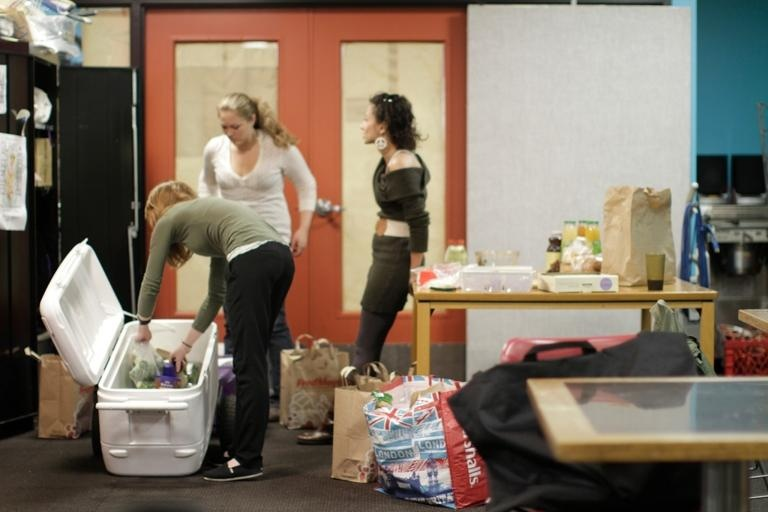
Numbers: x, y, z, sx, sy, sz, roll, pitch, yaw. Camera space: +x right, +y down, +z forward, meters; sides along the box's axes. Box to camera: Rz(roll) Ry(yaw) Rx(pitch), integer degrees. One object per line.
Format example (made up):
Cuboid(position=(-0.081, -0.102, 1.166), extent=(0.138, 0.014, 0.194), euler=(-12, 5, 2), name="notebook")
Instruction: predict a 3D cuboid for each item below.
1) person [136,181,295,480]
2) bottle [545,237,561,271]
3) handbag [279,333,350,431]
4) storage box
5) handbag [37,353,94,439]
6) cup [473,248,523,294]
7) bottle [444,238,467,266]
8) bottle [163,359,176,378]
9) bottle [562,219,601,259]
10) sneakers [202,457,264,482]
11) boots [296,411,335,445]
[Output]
Cuboid(position=(-0.903, 0.393, 4.081), extent=(0.766, 1.596, 0.408), euler=(2, 4, 16), name="person")
Cuboid(position=(0.991, -0.014, 4.392), extent=(0.083, 0.205, 0.253), euler=(2, 3, 13), name="bottle")
Cuboid(position=(-0.407, 0.755, 4.697), extent=(0.406, 0.614, 0.218), euler=(-2, 12, -6), name="handbag")
Cuboid(position=(-1.449, 0.566, 4.455), extent=(0.862, 1.016, 1.356), euler=(2, 14, -10), name="storage box")
Cuboid(position=(-2.031, 0.869, 4.749), extent=(0.296, 0.485, 0.377), euler=(2, 2, -19), name="handbag")
Cuboid(position=(0.634, 0.081, 4.254), extent=(0.210, 0.153, 0.217), euler=(1, 1, 0), name="cup")
Cuboid(position=(0.415, -0.026, 4.450), extent=(0.146, 0.237, 0.138), euler=(1, -6, 0), name="bottle")
Cuboid(position=(-1.193, 0.634, 4.217), extent=(0.077, 0.081, 0.081), euler=(0, 0, 14), name="bottle")
Cuboid(position=(1.157, -0.095, 4.456), extent=(0.195, 0.208, 0.204), euler=(0, 3, -1), name="bottle")
Cuboid(position=(-0.805, 1.151, 4.044), extent=(0.317, 0.126, 0.127), euler=(1, -2, -7), name="sneakers")
Cuboid(position=(-0.395, 1.077, 4.576), extent=(0.250, 0.189, 0.121), euler=(6, -11, -34), name="boots")
